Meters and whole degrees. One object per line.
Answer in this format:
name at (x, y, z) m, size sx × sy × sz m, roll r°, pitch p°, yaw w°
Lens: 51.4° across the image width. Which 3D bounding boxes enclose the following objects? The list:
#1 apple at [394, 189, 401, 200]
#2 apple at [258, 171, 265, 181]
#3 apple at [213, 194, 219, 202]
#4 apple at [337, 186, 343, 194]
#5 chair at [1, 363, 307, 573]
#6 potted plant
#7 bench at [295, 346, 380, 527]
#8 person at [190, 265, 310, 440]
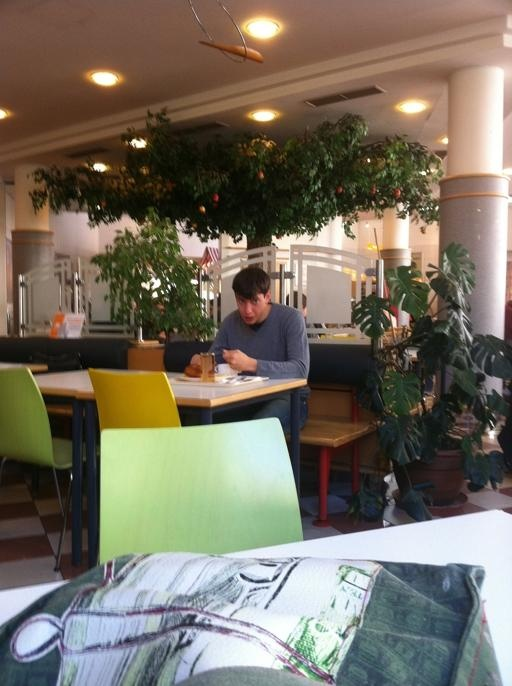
apple at (1.625, -1.703, 6.114) m, size 0.076 × 0.114 × 0.059 m, roll -1°, pitch 6°, yaw -12°
apple at (0.059, -1.790, 5.704) m, size 0.073 × 0.082 × 0.095 m, roll 12°, pitch -33°, yaw 9°
apple at (-0.435, -1.592, 5.869) m, size 0.041 × 0.084 × 0.077 m, roll 3°, pitch -1°, yaw -27°
apple at (0.897, -1.637, 5.702) m, size 0.054 × 0.072 × 0.058 m, roll 0°, pitch 5°, yaw 4°
chair at (-0.323, 0.353, 2.267) m, size 0.968 × 0.817 × 0.798 m, roll 3°, pitch 3°, yaw 36°
potted plant at (1.044, 0.199, 3.106) m, size 0.860 × 1.439 × 1.492 m, roll -2°, pitch 0°, yaw 17°
bench at (0.357, 0.557, 3.225) m, size 0.553 × 0.842 × 0.509 m, roll 3°, pitch 8°, yaw 41°
person at (-0.010, 0.184, 2.838) m, size 0.507 × 1.119 × 0.618 m, roll 0°, pitch 6°, yaw 33°
